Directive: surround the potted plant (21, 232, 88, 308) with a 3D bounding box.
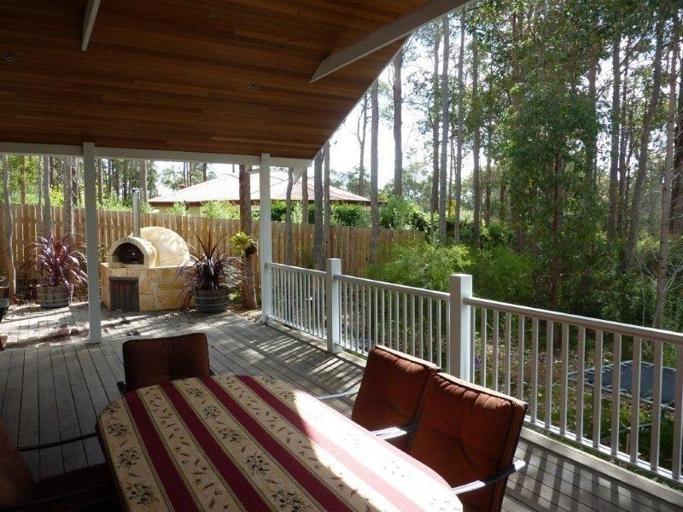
[{"bbox_3d":[-6.108,0.330,10.401,1.662,1.844,1.403,3,3,42],"label":"potted plant"}]

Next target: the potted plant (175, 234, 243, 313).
[{"bbox_3d":[-2.577,0.340,10.043,1.344,1.695,1.530,1,-2,-12],"label":"potted plant"}]

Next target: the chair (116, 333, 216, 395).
[{"bbox_3d":[-1.455,0.770,4.024,0.524,0.541,0.510,-3,-3,-25],"label":"chair"}]
